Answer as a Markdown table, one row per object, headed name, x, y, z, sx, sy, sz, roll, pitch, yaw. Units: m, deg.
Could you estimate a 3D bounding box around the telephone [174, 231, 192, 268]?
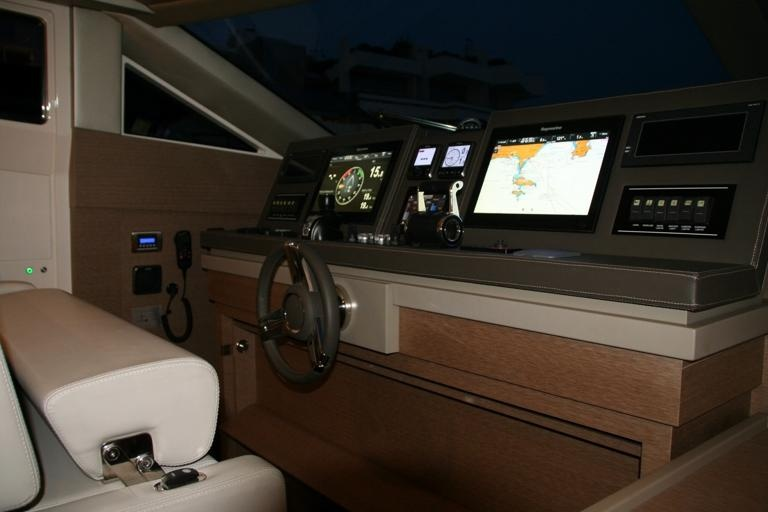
| name | x | y | z | sx | sy | sz | roll | pitch | yaw |
| --- | --- | --- | --- | --- | --- | --- | --- | --- | --- |
| telephone | -1.113 | -0.007 | 2.637 | 0.045 | 0.200 | 0.101 | 28 | 29 | 33 |
